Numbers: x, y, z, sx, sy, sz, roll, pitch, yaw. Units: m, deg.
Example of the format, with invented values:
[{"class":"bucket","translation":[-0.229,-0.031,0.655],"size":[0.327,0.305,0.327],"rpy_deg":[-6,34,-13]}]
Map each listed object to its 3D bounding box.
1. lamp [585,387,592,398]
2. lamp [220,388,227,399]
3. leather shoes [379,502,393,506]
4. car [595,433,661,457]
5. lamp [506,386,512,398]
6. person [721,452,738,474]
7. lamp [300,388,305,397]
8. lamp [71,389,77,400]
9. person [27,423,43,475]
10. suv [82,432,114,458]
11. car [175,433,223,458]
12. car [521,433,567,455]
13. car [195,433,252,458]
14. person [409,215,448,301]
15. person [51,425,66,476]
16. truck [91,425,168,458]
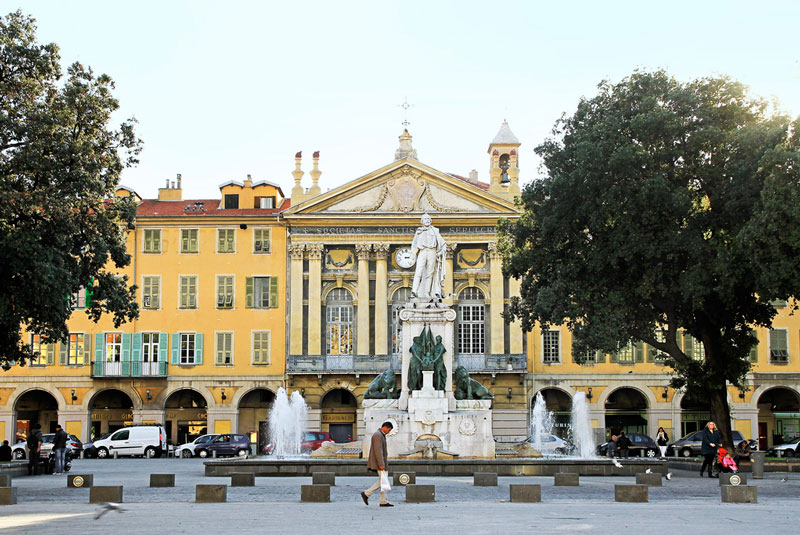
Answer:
[{"class":"lamp","translation":[10.780,7.072,91.953],"size":[0.334,0.582,0.103],"rpy_deg":[-2,-11,3]},{"class":"lamp","translation":[-10.056,7.169,92.136],"size":[0.312,0.662,0.246],"rpy_deg":[0,-11,-6]},{"class":"leather shoes","translation":[-0.437,7.651,52.487],"size":[0.437,0.174,0.137],"rpy_deg":[-1,-2,-7]},{"class":"car","translation":[11.919,8.918,83.534],"size":[2.703,1.223,1.544],"rpy_deg":[3,-11,0]},{"class":"lamp","translation":[6.170,6.971,91.257],"size":[0.272,0.661,0.186],"rpy_deg":[0,-11,-7]},{"class":"person","translation":[12.254,7.099,59.398],"size":[0.389,0.805,0.663],"rpy_deg":[-15,-18,2]},{"class":"lamp","translation":[-5.518,7.031,91.309],"size":[0.374,0.599,0.237],"rpy_deg":[-5,-12,20]},{"class":"lamp","translation":[-18.603,7.191,92.042],"size":[0.358,0.617,0.193],"rpy_deg":[-2,-11,2]},{"class":"person","translation":[-14.901,7.412,65.698],"size":[0.453,1.819,0.823],"rpy_deg":[1,-11,-14]},{"class":"suv","translation":[-16.155,9.430,85.277],"size":[1.836,0.948,1.048],"rpy_deg":[4,-10,-4]},{"class":"car","translation":[-10.740,9.247,84.373],"size":[1.938,0.875,1.107],"rpy_deg":[1,-7,-1]},{"class":"car","translation":[7.265,8.476,79.624],"size":[2.316,1.004,1.321],"rpy_deg":[4,-11,-4]},{"class":"car","translation":[-9.118,8.981,83.278],"size":[2.758,1.189,1.482],"rpy_deg":[3,-8,1]},{"class":"person","translation":[1.116,-0.445,64.899],"size":[1.341,3.652,0.880],"rpy_deg":[-1,-11,0]},{"class":"person","translation":[-13.913,7.432,66.027],"size":[0.514,1.789,0.999],"rpy_deg":[2,-11,-16]},{"class":"truck","translation":[-14.084,9.110,85.143],"size":[3.079,1.385,1.722],"rpy_deg":[2,-10,-3]}]
